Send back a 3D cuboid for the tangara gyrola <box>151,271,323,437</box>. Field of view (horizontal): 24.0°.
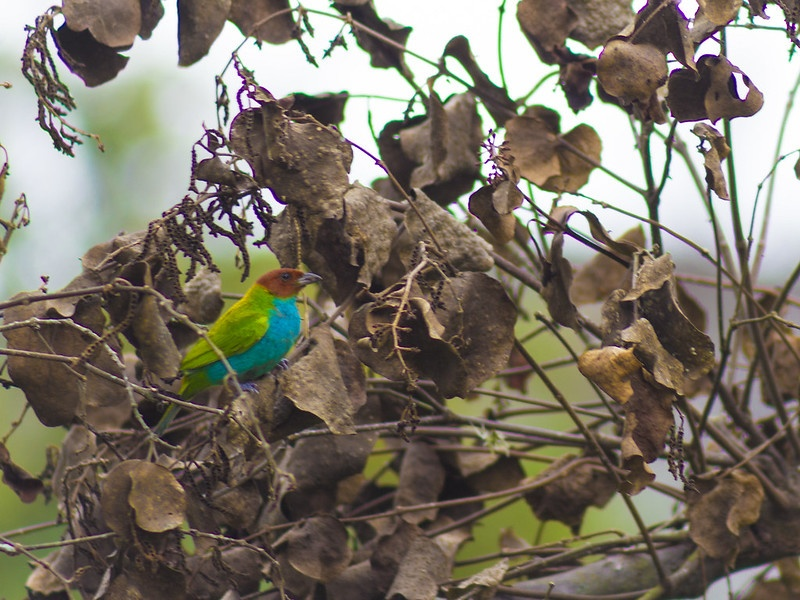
[{"bbox_3d":[-0.768,0.247,8.886,0.730,0.945,0.635,-2,-19,-3],"label":"tangara gyrola"}]
